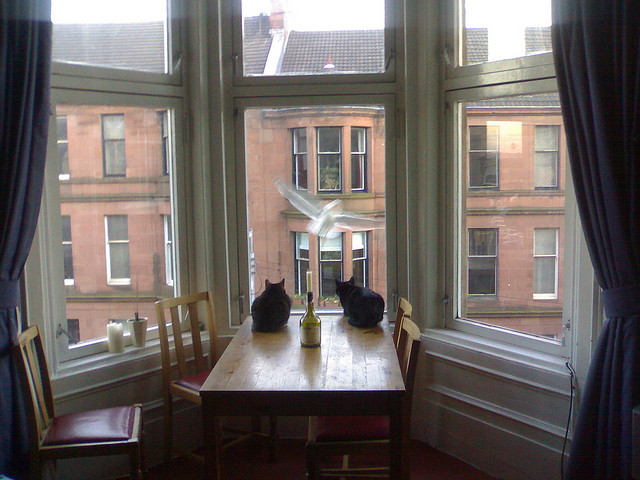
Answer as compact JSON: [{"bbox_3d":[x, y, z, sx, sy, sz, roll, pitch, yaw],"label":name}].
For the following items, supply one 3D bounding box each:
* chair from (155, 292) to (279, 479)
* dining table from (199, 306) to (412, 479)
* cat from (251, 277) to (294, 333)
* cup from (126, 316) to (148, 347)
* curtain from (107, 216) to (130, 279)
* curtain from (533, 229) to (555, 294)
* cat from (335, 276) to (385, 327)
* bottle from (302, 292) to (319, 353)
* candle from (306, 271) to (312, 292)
[{"bbox_3d":[-0.656,0.827,3.975,0.721,1.013,0.618,-2,4,10],"label":"chair"},{"bbox_3d":[-0.080,0.436,3.386,0.822,0.643,1.241,-1,13,0],"label":"dining table"},{"bbox_3d":[-0.293,0.388,3.959,0.241,0.216,0.431,3,14,5],"label":"cat"},{"bbox_3d":[-1.084,0.552,4.062,0.149,0.163,0.145,-3,0,0],"label":"cup"},{"bbox_3d":[-1.208,0.015,4.010,0.137,0.443,0.027,-2,-6,-26],"label":"curtain"},{"bbox_3d":[1.273,0.110,3.804,0.124,0.404,0.035,-2,-16,25],"label":"curtain"},{"bbox_3d":[0.224,0.356,3.973,0.236,0.239,0.417,-12,10,-30],"label":"cat"},{"bbox_3d":[-0.051,0.409,3.561,0.102,0.335,0.106,-1,21,1],"label":"bottle"},{"bbox_3d":[-0.060,0.222,3.561,0.019,0.097,0.062,-2,4,8],"label":"candle"}]
